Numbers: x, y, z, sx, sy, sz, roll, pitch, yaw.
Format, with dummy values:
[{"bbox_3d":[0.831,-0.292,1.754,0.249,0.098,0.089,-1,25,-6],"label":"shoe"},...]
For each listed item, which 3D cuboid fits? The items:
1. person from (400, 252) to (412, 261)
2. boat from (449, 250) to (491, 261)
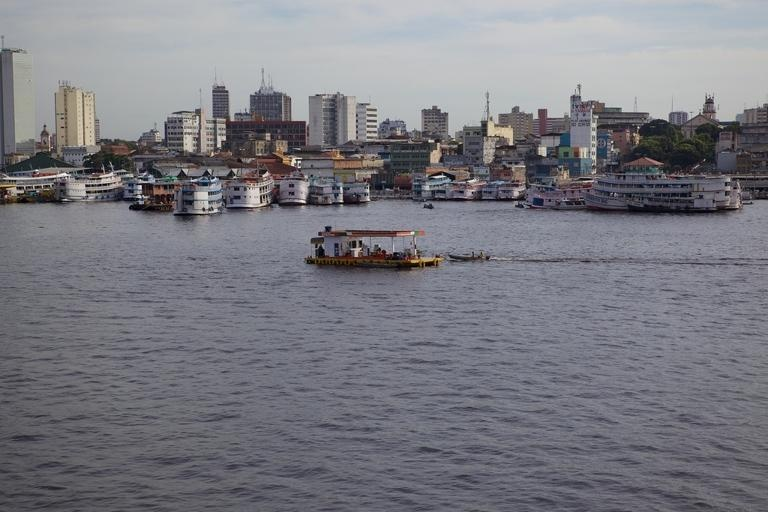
[{"bbox_3d":[1.442,0.059,99.690,0.725,0.451,1.179,0,5,1],"label":"person"},{"bbox_3d":[5.663,0.149,103.533,3.300,0.589,0.926,1,0,-1],"label":"boat"}]
